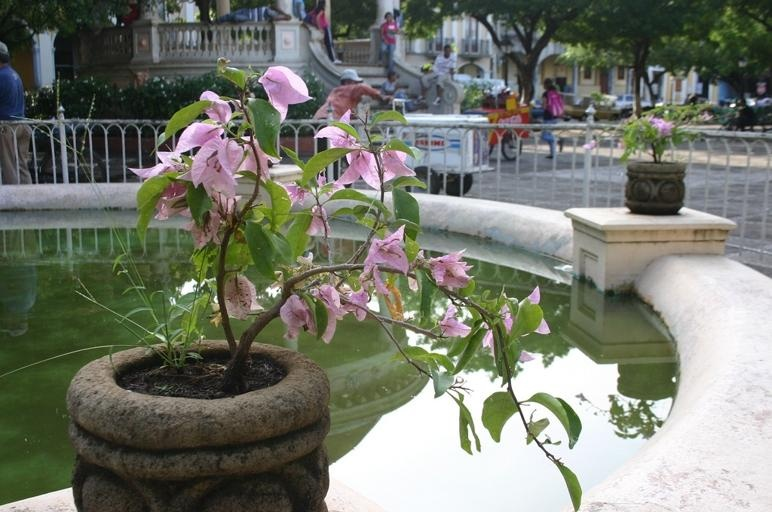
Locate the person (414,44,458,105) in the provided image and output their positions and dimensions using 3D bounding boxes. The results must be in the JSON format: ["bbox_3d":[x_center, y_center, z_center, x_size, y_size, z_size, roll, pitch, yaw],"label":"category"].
[{"bbox_3d":[1.316,-4.720,19.425,0.982,1.542,0.852,-1,14,-45],"label":"person"}]

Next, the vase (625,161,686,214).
[{"bbox_3d":[2.192,-0.564,6.276,0.459,0.432,0.195,4,11,20],"label":"vase"}]
